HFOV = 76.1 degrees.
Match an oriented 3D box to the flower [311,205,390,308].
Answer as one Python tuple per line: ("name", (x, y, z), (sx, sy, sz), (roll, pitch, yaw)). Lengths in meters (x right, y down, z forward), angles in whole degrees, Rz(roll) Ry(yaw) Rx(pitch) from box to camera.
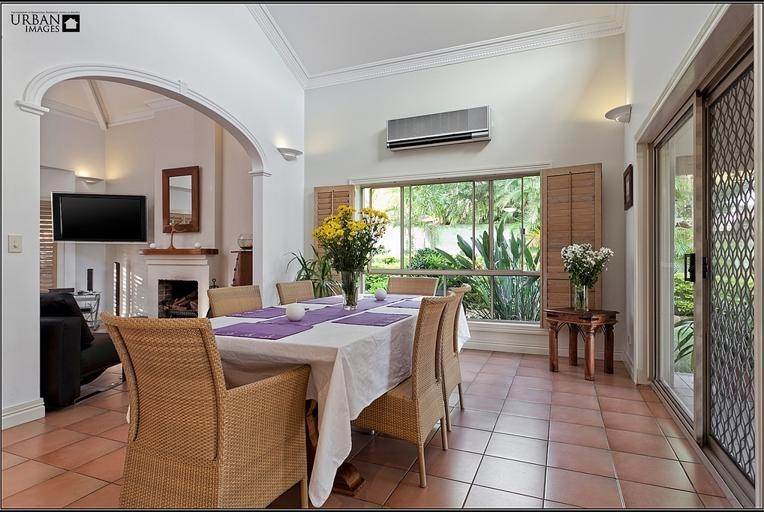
("flower", (-0.258, 0.020, 4.218), (0.636, 0.880, 0.281), (-4, 2, -9))

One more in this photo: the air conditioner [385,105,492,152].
("air conditioner", (0.708, -1.614, 6.278), (1.327, 0.409, 0.164), (-3, 2, 21))

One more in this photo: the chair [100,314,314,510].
("chair", (-1.060, 0.941, 3.392), (1.177, 1.633, 1.246), (-1, -1, 29))

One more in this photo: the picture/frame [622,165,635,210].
("picture/frame", (2.617, -0.715, 5.181), (0.041, 0.591, 0.613), (1, -1, 21))

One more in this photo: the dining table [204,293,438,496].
("dining table", (-0.282, 0.954, 3.531), (1.058, 0.506, 1.865), (-1, -4, 27))

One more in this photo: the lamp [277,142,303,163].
("lamp", (-1.238, -1.382, 6.507), (0.287, 0.156, 0.438), (-3, 1, -8))

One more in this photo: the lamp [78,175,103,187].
("lamp", (-4.719, -1.209, 7.893), (0.134, 0.144, 0.430), (-3, 1, 16))

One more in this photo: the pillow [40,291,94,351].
("pillow", (-2.868, 0.582, 4.474), (0.233, 0.498, 0.517), (1, -2, 25))

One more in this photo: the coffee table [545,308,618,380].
("coffee table", (2.236, 0.907, 5.437), (0.716, 0.813, 0.812), (-4, -5, 42))

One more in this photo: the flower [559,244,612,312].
("flower", (2.366, 0.239, 5.429), (0.716, 0.747, 0.687), (1, -1, -42))

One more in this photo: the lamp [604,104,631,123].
("lamp", (2.480, -1.487, 5.131), (0.225, 0.055, 0.242), (-1, -5, 16))
